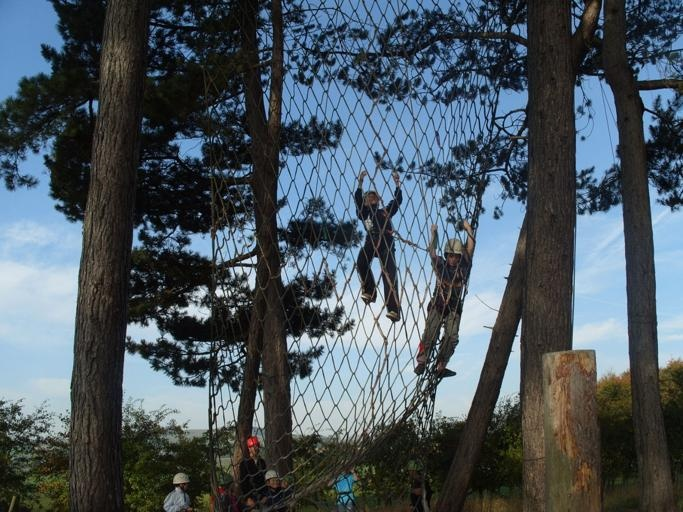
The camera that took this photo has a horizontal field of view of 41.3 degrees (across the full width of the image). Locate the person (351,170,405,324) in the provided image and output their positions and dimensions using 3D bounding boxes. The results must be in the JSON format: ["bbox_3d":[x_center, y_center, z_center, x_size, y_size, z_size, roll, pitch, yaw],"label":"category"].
[{"bbox_3d":[0.624,-0.202,14.753,0.812,2.922,0.779,9,-41,-14],"label":"person"}]

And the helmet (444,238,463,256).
[{"bbox_3d":[1.662,-0.120,13.414,0.187,0.223,0.304,2,-3,2],"label":"helmet"}]

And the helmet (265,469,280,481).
[{"bbox_3d":[-1.149,3.712,15.346,0.239,0.258,0.196,-8,-7,16],"label":"helmet"}]

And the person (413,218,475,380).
[{"bbox_3d":[1.680,0.672,14.599,0.649,2.824,0.691,7,23,7],"label":"person"}]
